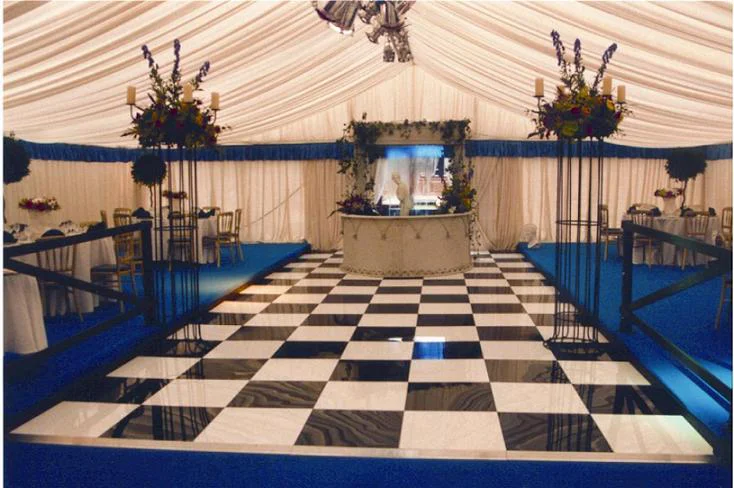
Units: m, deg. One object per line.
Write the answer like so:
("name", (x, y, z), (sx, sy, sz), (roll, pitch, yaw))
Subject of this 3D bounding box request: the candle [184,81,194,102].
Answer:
("candle", (-2.005, -1.693, 5.973), (0.092, 0.189, 0.180), (3, 14, 16))

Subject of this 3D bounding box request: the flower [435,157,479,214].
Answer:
("flower", (1.869, -1.191, 11.124), (1.054, 1.531, 0.655), (-4, 18, -3))

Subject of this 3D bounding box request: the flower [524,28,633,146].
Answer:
("flower", (2.427, -1.860, 6.086), (1.225, 1.191, 0.785), (-1, 8, 6))

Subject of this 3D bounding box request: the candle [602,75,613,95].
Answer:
("candle", (2.496, -1.640, 5.504), (0.080, 0.166, 0.042), (0, 14, 2))

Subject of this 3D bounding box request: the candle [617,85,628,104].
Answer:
("candle", (2.768, -1.640, 5.791), (0.072, 0.195, 0.143), (4, 15, 19))

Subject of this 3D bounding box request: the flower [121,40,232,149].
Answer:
("flower", (-2.322, -1.743, 6.316), (1.004, 1.213, 1.279), (-6, 14, -18))

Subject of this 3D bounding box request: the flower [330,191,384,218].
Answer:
("flower", (-0.287, -0.625, 9.584), (0.780, 0.342, 0.769), (1, -7, -33))

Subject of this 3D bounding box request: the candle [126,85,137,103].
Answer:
("candle", (-2.630, -1.664, 5.914), (0.084, 0.195, 0.081), (-4, 14, -10))
